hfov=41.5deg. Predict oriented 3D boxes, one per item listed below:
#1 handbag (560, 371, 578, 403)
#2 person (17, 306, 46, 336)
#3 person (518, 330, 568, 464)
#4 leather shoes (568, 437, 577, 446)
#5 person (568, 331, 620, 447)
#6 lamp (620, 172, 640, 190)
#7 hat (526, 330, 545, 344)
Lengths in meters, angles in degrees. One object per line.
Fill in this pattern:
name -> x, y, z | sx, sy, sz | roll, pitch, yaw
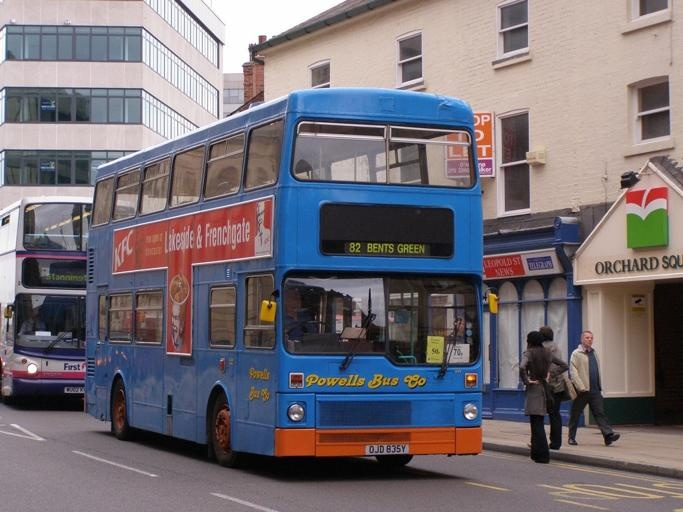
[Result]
handbag -> 4.350, 2.498, 17.326 | 0.346, 0.460, 0.490 | -8, 36, 0
person -> -8.729, 1.823, 25.121 | 0.689, 1.311, 0.699 | -3, 46, -26
person -> 3.566, 2.502, 16.099 | 0.718, 2.231, 1.267 | 2, 7, 14
leather shoes -> 4.497, 3.614, 17.442 | 0.084, 0.113, 0.267 | 1, -13, -9
person -> 4.791, 2.647, 17.383 | 0.794, 2.229, 1.381 | -1, 7, -8
lamp -> 6.315, -1.637, 19.606 | 0.400, 0.384, 0.297 | 3, 7, 23
hat -> 3.523, 1.501, 16.251 | 0.213, 0.287, 0.276 | 3, 15, 8
